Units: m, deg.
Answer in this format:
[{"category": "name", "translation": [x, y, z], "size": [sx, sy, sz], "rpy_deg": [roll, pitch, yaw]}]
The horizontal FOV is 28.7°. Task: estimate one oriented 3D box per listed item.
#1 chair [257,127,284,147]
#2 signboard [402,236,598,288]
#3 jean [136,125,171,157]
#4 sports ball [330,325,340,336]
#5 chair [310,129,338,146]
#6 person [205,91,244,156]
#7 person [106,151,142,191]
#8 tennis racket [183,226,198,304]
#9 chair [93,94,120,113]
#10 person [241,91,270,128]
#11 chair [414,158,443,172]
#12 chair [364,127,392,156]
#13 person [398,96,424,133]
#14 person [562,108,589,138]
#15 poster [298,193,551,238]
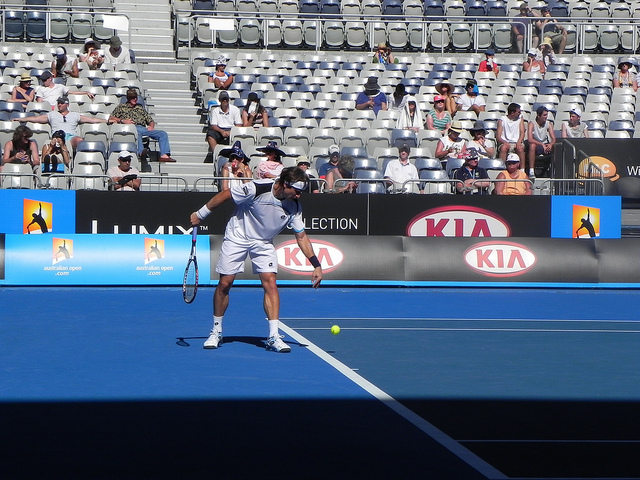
[{"category": "chair", "translation": [-1.264, -2.609, 31.547], "size": [0.540, 0.669, 0.641], "rpy_deg": [1, -7, -2]}, {"category": "signboard", "translation": [4.481, 0.426, 28.536], "size": [3.803, 1.061, 0.032], "rpy_deg": [0, 0, 24]}, {"category": "jean", "translation": [-4.229, -2.542, 31.743], "size": [0.803, 0.921, 0.723], "rpy_deg": [-5, 5, -10]}, {"category": "sports ball", "translation": [0.277, 1.640, 23.056], "size": [0.142, 0.154, 0.164], "rpy_deg": [6, -23, -1]}, {"category": "chair", "translation": [0.108, -2.679, 32.015], "size": [0.501, 0.627, 0.506], "rpy_deg": [1, -7, -4]}, {"category": "person", "translation": [-2.453, -3.077, 32.233], "size": [0.914, 1.504, 1.823], "rpy_deg": [-2, 9, -4]}, {"category": "person", "translation": [-4.533, -1.610, 28.910], "size": [0.755, 0.901, 1.527], "rpy_deg": [-3, 9, -9]}, {"category": "tennis racket", "translation": [-2.605, 0.544, 25.182], "size": [0.095, 1.801, 0.595], "rpy_deg": [0, 42, -22]}, {"category": "chair", "translation": [-5.619, -3.623, 32.929], "size": [0.568, 0.485, 0.503], "rpy_deg": [1, 0, -16]}, {"category": "person", "translation": [-1.701, -3.347, 32.174], "size": [0.842, 0.886, 0.559], "rpy_deg": [-10, 12, -44]}, {"category": "chair", "translation": [2.682, -1.890, 30.934], "size": [0.458, 0.382, 0.397], "rpy_deg": [-2, 0, 15]}, {"category": "chair", "translation": [1.494, -2.535, 32.180], "size": [0.708, 0.624, 0.922], "rpy_deg": [-1, 9, 3]}, {"category": "person", "translation": [2.375, -3.297, 32.819], "size": [0.634, 0.893, 0.921], "rpy_deg": [1, 9, 17]}, {"category": "person", "translation": [6.753, -3.089, 33.182], "size": [0.639, 0.673, 0.761], "rpy_deg": [1, 9, 16]}, {"category": "poster", "translation": [2.478, -0.418, 28.894], "size": [6.360, 1.198, 0.078], "rpy_deg": [3, 15, 12]}]
